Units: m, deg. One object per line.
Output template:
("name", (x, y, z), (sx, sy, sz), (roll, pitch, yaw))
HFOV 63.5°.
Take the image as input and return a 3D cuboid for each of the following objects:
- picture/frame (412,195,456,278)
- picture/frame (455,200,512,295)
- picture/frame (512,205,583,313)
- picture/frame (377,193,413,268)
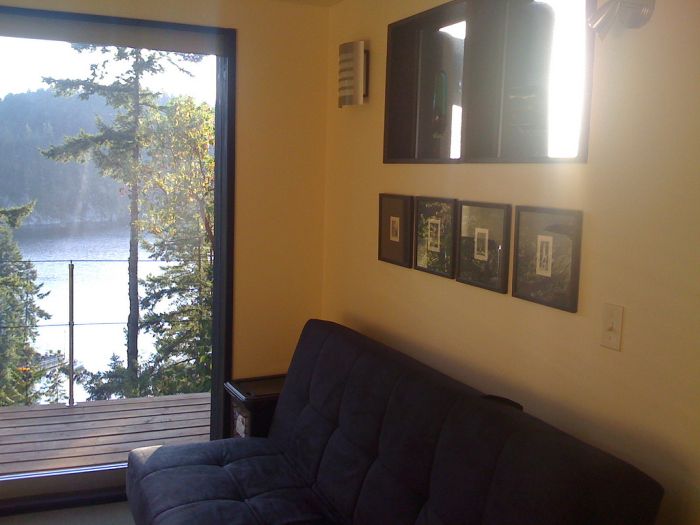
("picture/frame", (0.400, -0.124, 2.642), (0.040, 0.407, 0.325), (-5, 11, -28))
("picture/frame", (0.574, -0.069, 2.375), (0.046, 0.509, 0.342), (-4, 7, -36))
("picture/frame", (0.752, -0.018, 2.117), (0.033, 0.505, 0.343), (-4, 9, -36))
("picture/frame", (0.238, -0.168, 2.890), (0.034, 0.372, 0.330), (-3, 8, -24))
